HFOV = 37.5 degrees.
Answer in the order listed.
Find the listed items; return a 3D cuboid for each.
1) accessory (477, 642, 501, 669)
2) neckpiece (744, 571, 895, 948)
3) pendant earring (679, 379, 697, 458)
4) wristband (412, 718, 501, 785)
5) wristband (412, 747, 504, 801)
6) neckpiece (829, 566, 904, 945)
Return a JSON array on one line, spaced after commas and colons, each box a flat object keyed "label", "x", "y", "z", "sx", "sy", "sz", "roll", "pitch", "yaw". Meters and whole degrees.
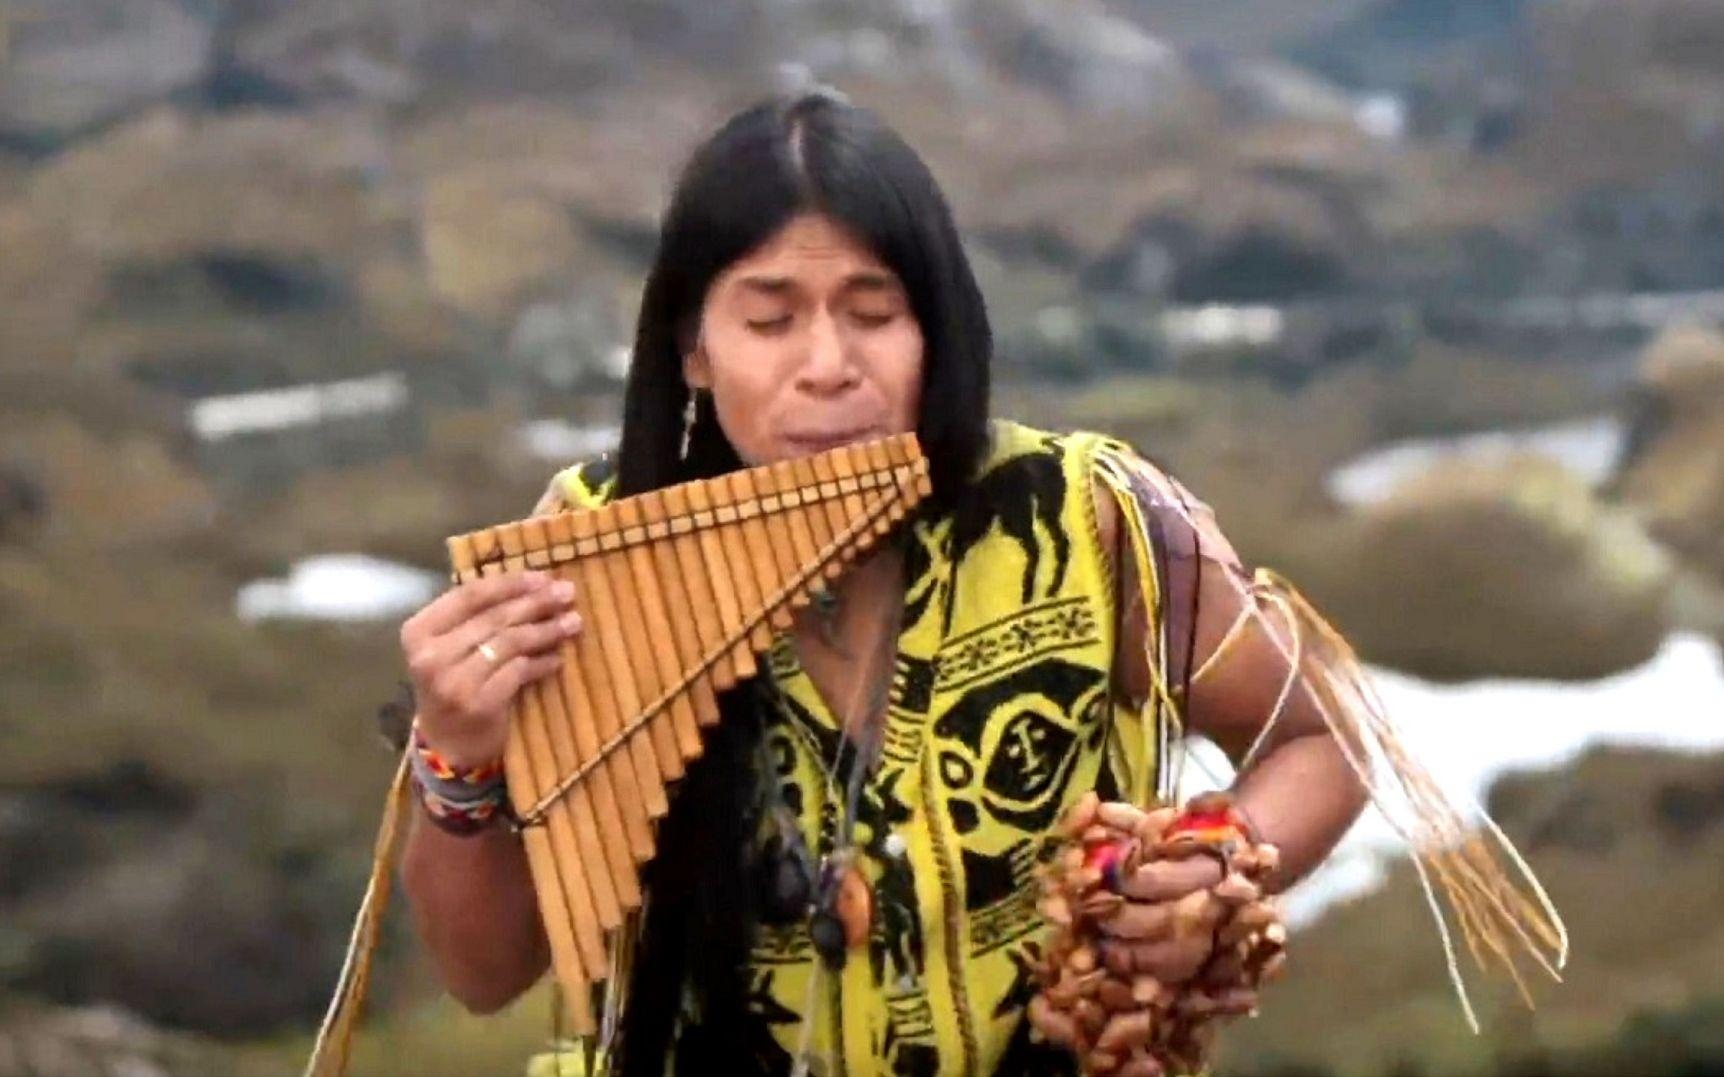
[{"label": "accessory", "x": -0.720, "y": 0.221, "z": 4.875, "sx": 0.037, "sy": 0.044, "sz": 0.011, "roll": -7, "pitch": -4, "yaw": -3}, {"label": "neckpiece", "x": -0.052, "y": 0.442, "z": 5.119, "sx": 0.257, "sy": 0.731, "sz": 0.109, "roll": 3, "pitch": -4, "yaw": 9}, {"label": "pendant earring", "x": -0.332, "y": -0.241, "z": 5.124, "sx": 0.035, "sy": 0.142, "sz": 0.041, "roll": 7, "pitch": -4, "yaw": 2}, {"label": "wristband", "x": -0.793, "y": 0.424, "z": 4.950, "sx": 0.143, "sy": 0.037, "sz": 0.138, "roll": -16, "pitch": -49, "yaw": 45}, {"label": "wristband", "x": -0.783, "y": 0.467, "z": 4.939, "sx": 0.126, "sy": 0.040, "sz": 0.127, "roll": -4, "pitch": -14, "yaw": 32}, {"label": "neckpiece", "x": 0.034, "y": 0.423, "z": 5.084, "sx": 0.128, "sy": 0.723, "sz": 0.128, "roll": 4, "pitch": -10, "yaw": 1}]
